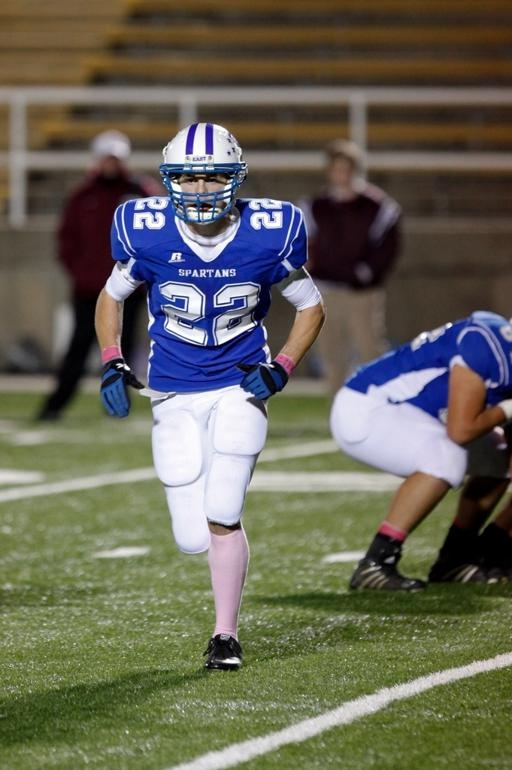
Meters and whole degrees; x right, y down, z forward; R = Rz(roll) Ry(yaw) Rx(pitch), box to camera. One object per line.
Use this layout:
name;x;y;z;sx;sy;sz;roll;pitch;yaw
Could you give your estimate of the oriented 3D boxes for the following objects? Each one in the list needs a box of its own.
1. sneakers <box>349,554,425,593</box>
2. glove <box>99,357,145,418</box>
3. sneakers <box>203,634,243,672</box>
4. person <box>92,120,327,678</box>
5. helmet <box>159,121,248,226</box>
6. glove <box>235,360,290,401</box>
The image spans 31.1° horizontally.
sneakers;0.353;0.534;2.623;0.272;0.100;0.077;-1;4;5
glove;-0.305;0.005;2.126;0.111;0.141;0.052;-12;-25;0
sneakers;-0.064;0.545;1.871;0.070;0.041;0.117;1;-11;2
person;-0.112;-0.008;1.994;0.530;1.098;0.641;5;15;-6
helmet;-0.111;-0.485;2.060;0.220;0.180;0.218;-7;30;-11
glove;0.014;-0.003;2.022;0.108;0.099;0.139;6;14;0
